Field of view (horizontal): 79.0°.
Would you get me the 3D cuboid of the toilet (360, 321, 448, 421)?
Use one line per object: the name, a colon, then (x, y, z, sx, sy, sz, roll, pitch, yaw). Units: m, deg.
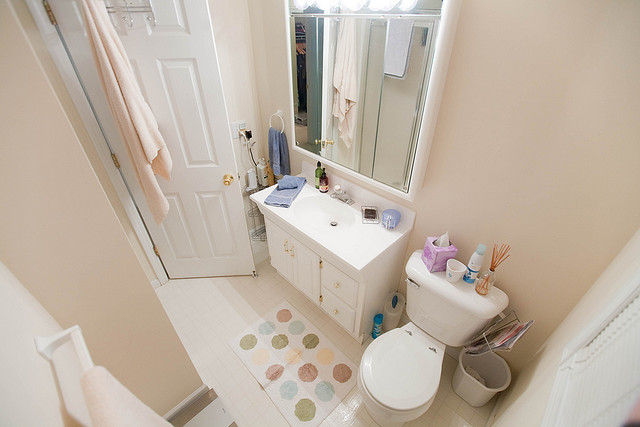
toilet: (0.499, 0.922, 2.323, 0.381, 0.406, 0.576, 28, 52, 30)

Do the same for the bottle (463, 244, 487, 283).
bottle: (0.860, 0.290, 2.167, 0.071, 0.259, 0.068, 5, 35, -3)

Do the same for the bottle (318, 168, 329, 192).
bottle: (0.015, -0.240, 2.808, 0.057, 0.121, 0.125, -5, 39, -5)

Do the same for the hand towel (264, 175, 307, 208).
hand towel: (-0.249, -0.180, 2.828, 0.198, 0.069, 0.394, 12, 41, 15)

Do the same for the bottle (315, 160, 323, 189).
bottle: (-0.016, -0.281, 2.820, 0.062, 0.245, 0.064, 2, 43, -2)

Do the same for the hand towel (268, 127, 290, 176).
hand towel: (-0.329, -0.506, 3.092, 0.121, 0.319, 0.266, -20, 50, -19)
